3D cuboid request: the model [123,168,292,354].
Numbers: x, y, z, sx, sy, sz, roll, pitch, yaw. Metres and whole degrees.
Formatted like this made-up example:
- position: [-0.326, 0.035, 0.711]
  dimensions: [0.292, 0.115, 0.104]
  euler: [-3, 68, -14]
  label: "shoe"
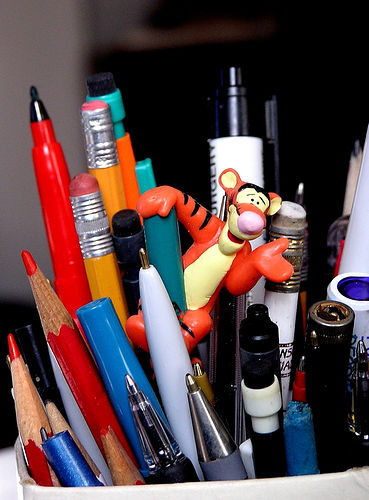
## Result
- position: [0.017, 0.013, 0.417]
  dimensions: [0.097, 0.124, 0.083]
  euler: [30, 6, -6]
  label: "model"
